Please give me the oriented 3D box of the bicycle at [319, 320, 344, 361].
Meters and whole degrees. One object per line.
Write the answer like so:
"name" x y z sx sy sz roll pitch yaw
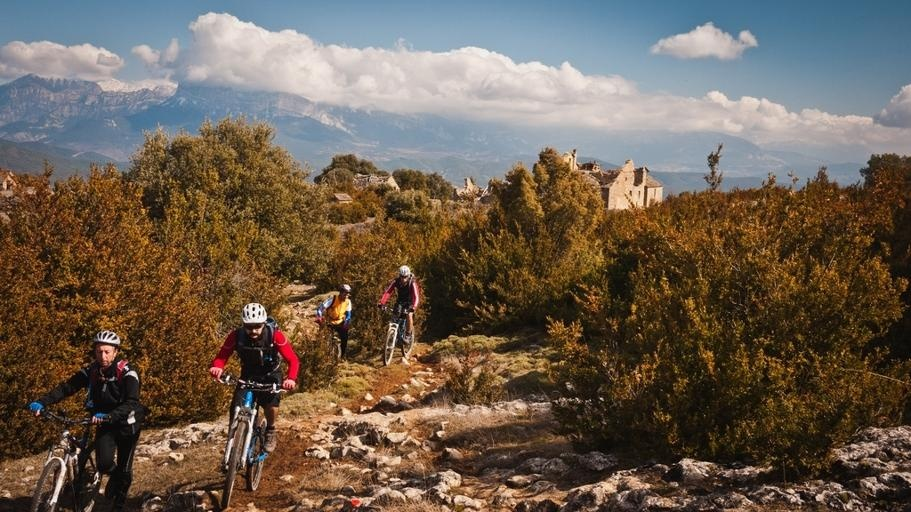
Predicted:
"bicycle" -4.311 2.955 32.932 0.651 0.836 1.369 -13 -21 2

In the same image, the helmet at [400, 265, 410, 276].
"helmet" -1.805 0.532 33.381 0.299 0.421 0.382 2 5 1

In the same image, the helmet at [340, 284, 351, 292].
"helmet" -3.886 1.112 32.619 0.340 0.175 0.230 -6 -3 32

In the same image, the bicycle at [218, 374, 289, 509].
"bicycle" -5.768 5.057 25.847 1.124 3.577 1.563 5 3 30
